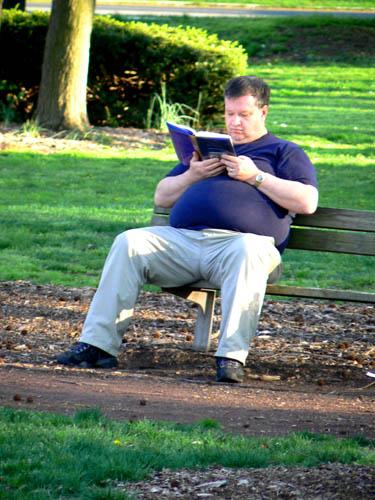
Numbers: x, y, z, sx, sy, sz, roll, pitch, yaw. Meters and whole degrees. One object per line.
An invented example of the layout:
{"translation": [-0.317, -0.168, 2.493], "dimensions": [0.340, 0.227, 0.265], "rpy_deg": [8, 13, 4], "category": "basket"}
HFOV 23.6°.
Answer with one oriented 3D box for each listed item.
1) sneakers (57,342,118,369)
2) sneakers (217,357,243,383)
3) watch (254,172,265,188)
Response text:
{"translation": [-0.579, 0.629, 5.290], "dimensions": [0.403, 0.170, 0.130], "rpy_deg": [10, -2, -4], "category": "sneakers"}
{"translation": [0.234, 0.671, 5.013], "dimensions": [0.151, 0.143, 0.176], "rpy_deg": [6, 5, 2], "category": "sneakers"}
{"translation": [0.427, -0.416, 5.385], "dimensions": [0.056, 0.079, 0.077], "rpy_deg": [24, -18, 14], "category": "watch"}
